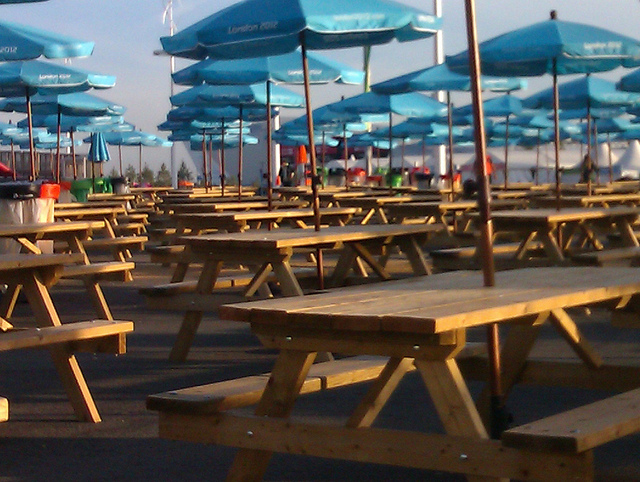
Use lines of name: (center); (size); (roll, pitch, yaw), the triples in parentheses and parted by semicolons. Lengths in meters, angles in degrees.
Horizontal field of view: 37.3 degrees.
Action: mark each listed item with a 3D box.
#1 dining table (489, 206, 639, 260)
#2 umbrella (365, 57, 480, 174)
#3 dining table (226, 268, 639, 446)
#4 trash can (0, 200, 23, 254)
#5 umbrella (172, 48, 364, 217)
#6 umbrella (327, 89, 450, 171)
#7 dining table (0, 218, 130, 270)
dining table: (2.575, -0.107, 9.376); (0.893, 0.456, 2.606); (3, 6, 29)
umbrella: (1.364, -2.077, 17.633); (2.386, 1.660, 2.473); (5, 5, 27)
dining table: (0.559, 0.510, 4.695); (1.942, 0.739, 0.981); (-4, 7, -36)
trash can: (-2.928, -0.133, 9.031); (0.206, 0.493, 0.279); (-1, 6, -10)
umbrella: (-0.716, -1.717, 11.920); (1.709, 1.357, 1.538); (-7, 2, -2)
umbrella: (1.284, -1.793, 14.925); (1.476, 1.328, 1.512); (-1, -8, 18)
dining table: (-2.314, -0.006, 8.170); (0.465, 0.318, 1.835); (1, 6, 12)
